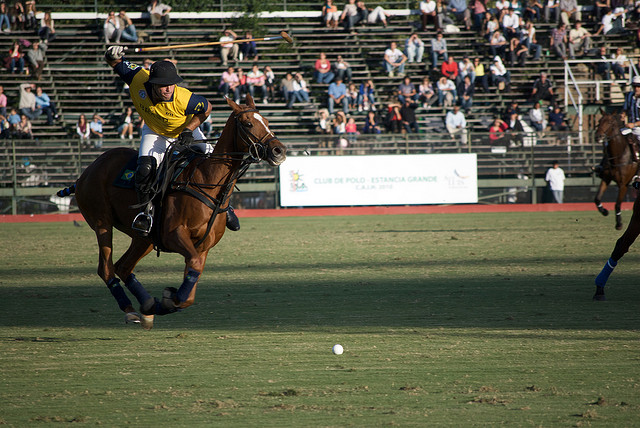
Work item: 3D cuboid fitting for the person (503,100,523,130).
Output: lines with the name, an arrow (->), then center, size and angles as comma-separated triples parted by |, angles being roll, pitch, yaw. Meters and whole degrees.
person -> 7.505, -3.826, 59.162 | 0.741, 1.050, 0.939 | -2, 6, 3

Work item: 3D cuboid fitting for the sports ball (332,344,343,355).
sports ball -> 0.474, 3.627, 41.471 | 0.283, 0.221, 0.270 | 3, 2, 0

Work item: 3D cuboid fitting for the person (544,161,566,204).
person -> 8.919, -1.226, 57.849 | 0.659, 1.563, 0.582 | -2, 7, 10

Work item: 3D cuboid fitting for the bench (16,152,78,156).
bench -> -10.189, -2.288, 57.692 | 1.375, 0.149, 0.058 | 0, 6, -1

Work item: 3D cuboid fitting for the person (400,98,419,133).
person -> 3.417, -3.812, 58.939 | 0.654, 1.239, 0.960 | -2, 6, 3

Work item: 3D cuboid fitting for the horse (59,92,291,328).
horse -> -4.123, -0.085, 42.655 | 5.364, 6.275, 2.523 | -3, 7, -7

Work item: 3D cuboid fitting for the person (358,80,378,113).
person -> 1.842, -4.627, 60.187 | 0.698, 1.219, 0.820 | -2, 7, 7

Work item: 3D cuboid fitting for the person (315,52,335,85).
person -> 0.134, -5.768, 60.925 | 0.539, 1.200, 0.612 | 4, 9, 44

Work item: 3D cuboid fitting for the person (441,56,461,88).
person -> 5.215, -5.589, 60.491 | 0.718, 1.179, 0.435 | -2, 7, 3

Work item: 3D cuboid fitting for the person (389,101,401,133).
person -> 2.881, -3.642, 58.694 | 0.408, 0.979, 0.549 | -3, 7, 1

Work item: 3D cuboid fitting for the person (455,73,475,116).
person -> 5.740, -4.715, 60.318 | 0.651, 1.650, 0.735 | -1, 7, 15

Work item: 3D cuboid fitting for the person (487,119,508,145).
person -> 6.820, -3.146, 58.334 | 0.668, 0.926, 0.908 | -2, 6, 8
